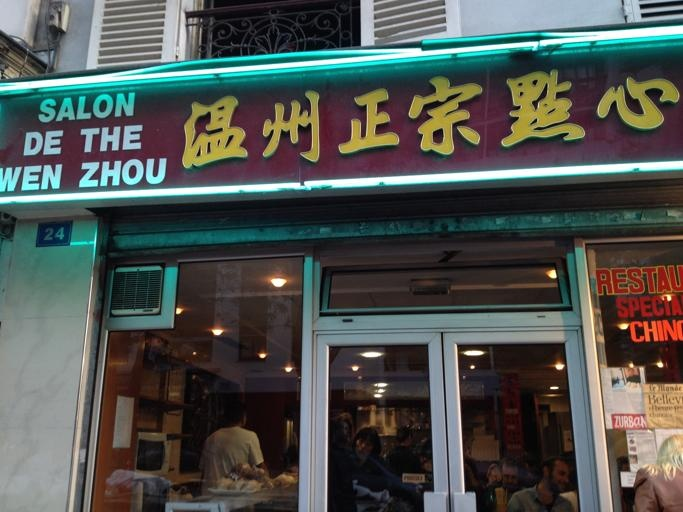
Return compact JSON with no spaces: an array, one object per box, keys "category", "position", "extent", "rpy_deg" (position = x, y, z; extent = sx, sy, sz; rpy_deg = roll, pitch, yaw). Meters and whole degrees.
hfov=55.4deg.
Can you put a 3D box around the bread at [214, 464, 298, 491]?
[{"category":"bread","position":[-0.621,1.617,4.693],"extent":[0.376,0.116,0.320],"rpy_deg":[-2,-22,8]}]

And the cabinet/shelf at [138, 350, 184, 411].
[{"category":"cabinet/shelf","position":[-1.374,0.955,4.996],"extent":[0.404,0.403,0.097],"rpy_deg":[4,-5,20]}]

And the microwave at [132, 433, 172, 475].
[{"category":"microwave","position":[-1.397,1.463,4.911],"extent":[0.338,0.359,0.258],"rpy_deg":[1,-14,-3]}]
